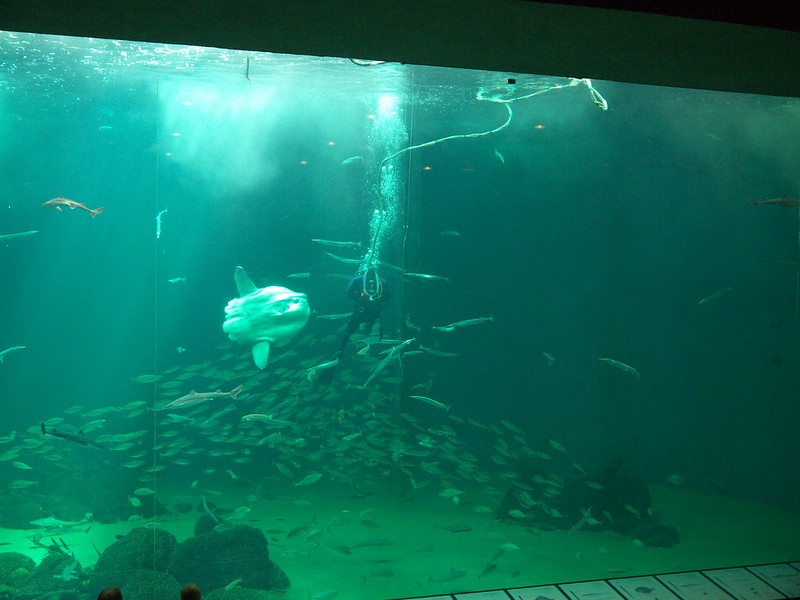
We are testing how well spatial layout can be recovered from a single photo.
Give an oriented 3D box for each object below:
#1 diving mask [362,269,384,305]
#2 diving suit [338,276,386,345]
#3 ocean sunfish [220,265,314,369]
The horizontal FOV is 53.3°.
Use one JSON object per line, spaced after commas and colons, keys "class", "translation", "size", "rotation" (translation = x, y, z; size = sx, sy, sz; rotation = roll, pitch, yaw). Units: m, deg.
{"class": "diving mask", "translation": [-0.284, -0.142, 8.188], "size": [0.253, 0.312, 0.071], "rotation": [-2, -1, -12]}
{"class": "diving suit", "translation": [-0.310, 0.024, 8.326], "size": [0.440, 0.966, 0.263], "rotation": [-7, 41, -11]}
{"class": "ocean sunfish", "translation": [-1.419, 0.204, 8.220], "size": [1.081, 0.870, 0.314], "rotation": [-17, 4, -38]}
